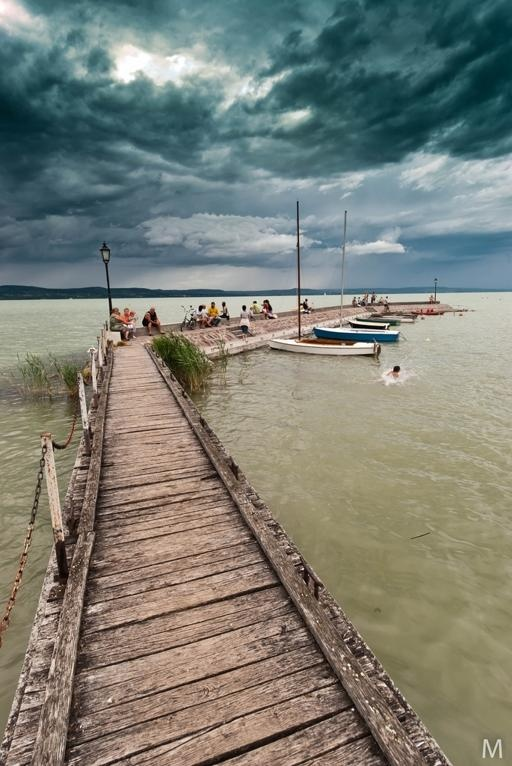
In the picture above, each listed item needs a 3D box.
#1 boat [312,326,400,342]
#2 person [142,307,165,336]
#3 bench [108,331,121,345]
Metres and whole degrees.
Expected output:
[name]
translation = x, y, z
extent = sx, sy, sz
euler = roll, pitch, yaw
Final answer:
[boat]
translation = 6.758, -3.297, 34.070
extent = 4.777, 1.021, 1.738
euler = 3, 27, 1
[person]
translation = -5.639, -3.267, 26.339
extent = 0.842, 1.439, 2.420
euler = -4, 11, -12
[bench]
translation = -6.360, -1.964, 21.905
extent = 0.534, 0.571, 1.186
euler = -5, 11, -14
